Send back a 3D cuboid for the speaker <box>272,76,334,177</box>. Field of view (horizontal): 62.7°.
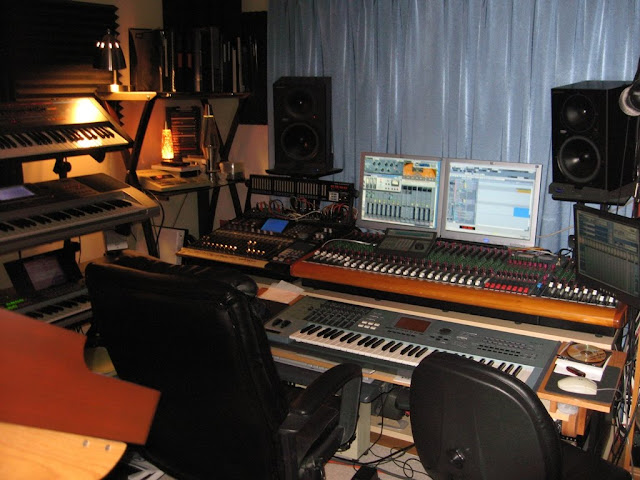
[{"bbox_3d":[-0.116,-0.828,3.756,0.421,0.647,0.386,-1,21,-2],"label":"speaker"}]

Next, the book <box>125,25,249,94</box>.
[{"bbox_3d":[-0.924,-1.234,3.658,0.630,0.295,0.313,-11,15,-40],"label":"book"}]

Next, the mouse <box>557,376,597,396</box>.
[{"bbox_3d":[1.029,0.569,2.101,0.108,0.034,0.076,0,11,32],"label":"mouse"}]

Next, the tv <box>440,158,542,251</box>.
[{"bbox_3d":[0.981,-0.211,3.050,0.517,0.428,0.051,9,12,27],"label":"tv"}]
